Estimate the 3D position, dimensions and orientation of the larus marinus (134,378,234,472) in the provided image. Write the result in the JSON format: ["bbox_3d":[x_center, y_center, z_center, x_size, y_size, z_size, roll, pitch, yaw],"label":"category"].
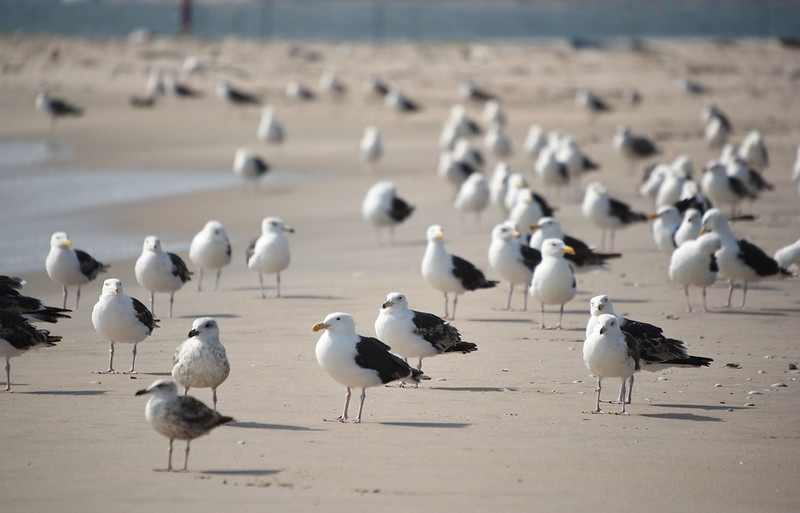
[{"bbox_3d":[-3.058,2.284,19.506,0.990,1.261,0.775,32,44,27],"label":"larus marinus"}]
